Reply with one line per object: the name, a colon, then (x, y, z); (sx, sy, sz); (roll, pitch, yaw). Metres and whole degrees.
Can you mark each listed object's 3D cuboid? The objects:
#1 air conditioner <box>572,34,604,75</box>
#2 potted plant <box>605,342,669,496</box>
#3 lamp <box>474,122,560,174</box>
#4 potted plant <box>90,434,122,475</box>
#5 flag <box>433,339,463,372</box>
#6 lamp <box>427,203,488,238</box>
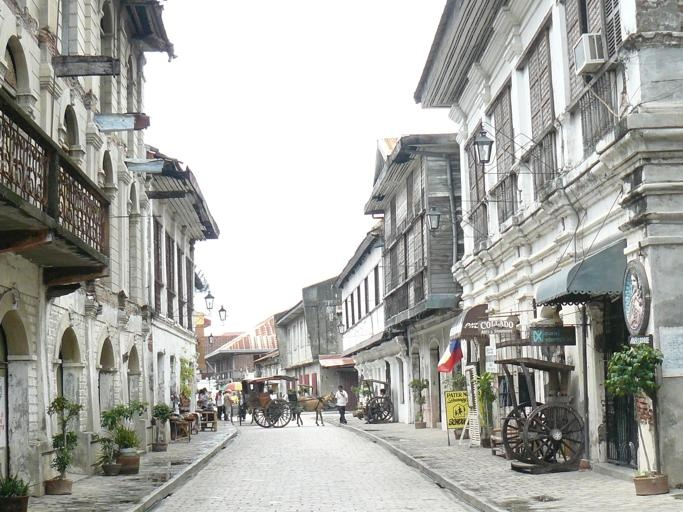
air conditioner: (4.144, -3.371, 15.209); (0.409, 0.541, 0.414); (-3, -19, -1)
potted plant: (4.437, 2.471, 13.844); (0.751, 2.152, 0.975); (-2, -3, 8)
lamp: (3.373, -2.319, 19.444); (1.275, 1.162, 1.307); (-2, -1, -6)
potted plant: (-4.785, 4.151, 18.751); (0.695, 1.013, 0.712); (1, -15, -7)
flag: (2.821, 2.624, 23.562); (0.596, 0.795, 1.365); (-5, -20, 5)
lamp: (3.004, -0.897, 23.797); (2.552, 1.152, 0.509); (6, 5, 44)
